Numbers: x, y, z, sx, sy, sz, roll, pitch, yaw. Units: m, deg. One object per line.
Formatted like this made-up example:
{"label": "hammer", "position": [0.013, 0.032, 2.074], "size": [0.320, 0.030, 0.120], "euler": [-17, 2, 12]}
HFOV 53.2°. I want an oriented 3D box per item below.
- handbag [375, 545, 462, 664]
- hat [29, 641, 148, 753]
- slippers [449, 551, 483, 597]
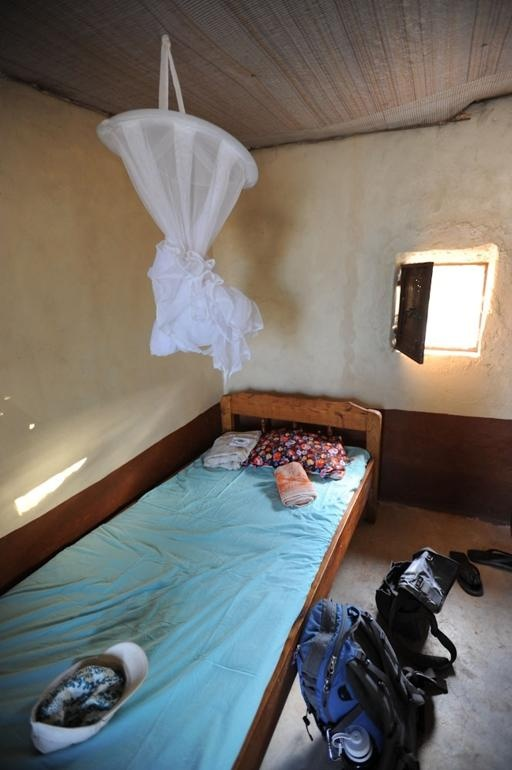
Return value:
{"label": "handbag", "position": [0.693, 0.984, 2.270], "size": [0.331, 0.313, 0.338], "euler": [26, 53, 5]}
{"label": "hat", "position": [-0.484, 0.876, 1.449], "size": [0.204, 0.111, 0.364], "euler": [11, 15, 27]}
{"label": "slippers", "position": [1.048, 0.922, 2.557], "size": [0.103, 0.085, 0.309], "euler": [-12, 13, 6]}
